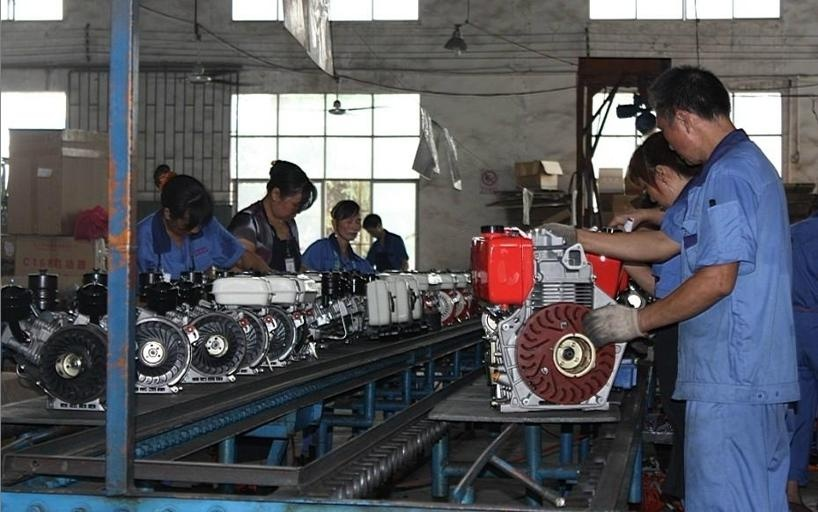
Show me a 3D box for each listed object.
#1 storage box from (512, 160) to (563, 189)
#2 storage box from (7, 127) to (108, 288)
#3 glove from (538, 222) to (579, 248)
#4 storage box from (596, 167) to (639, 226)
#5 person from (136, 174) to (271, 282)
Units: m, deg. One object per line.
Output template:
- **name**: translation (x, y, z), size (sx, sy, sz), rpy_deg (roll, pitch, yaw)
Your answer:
- **storage box**: translation (1.981, -1.257, 21.741), size (0.484, 0.362, 0.700), rpy_deg (1, 4, 16)
- **storage box**: translation (-3.999, -0.639, 16.166), size (1.116, 1.653, 0.671), rpy_deg (-1, 3, -14)
- **glove**: translation (1.367, -0.193, 12.925), size (0.321, 0.107, 0.180), rpy_deg (14, -1, 9)
- **storage box**: translation (2.835, -0.796, 19.253), size (0.676, 0.732, 1.113), rpy_deg (-2, 6, 2)
- **person**: translation (-2.225, -0.318, 14.860), size (0.513, 1.050, 1.272), rpy_deg (2, 3, 37)
